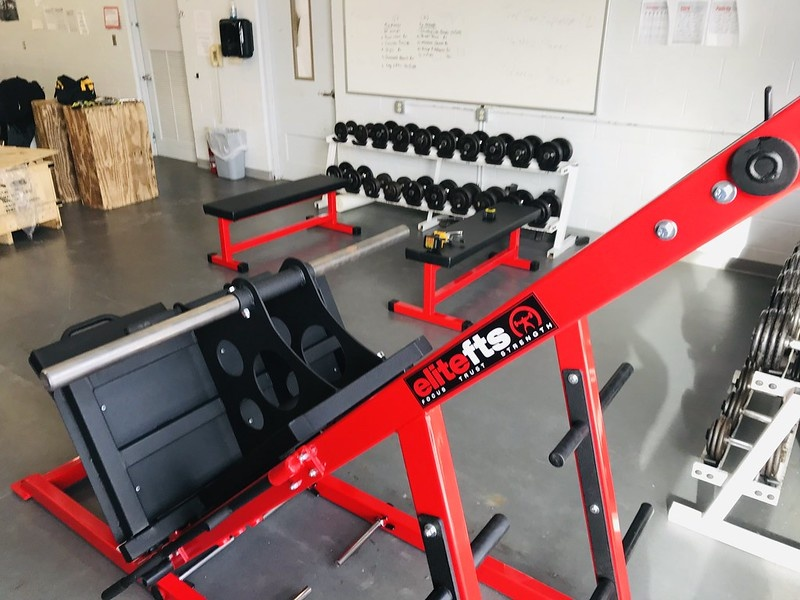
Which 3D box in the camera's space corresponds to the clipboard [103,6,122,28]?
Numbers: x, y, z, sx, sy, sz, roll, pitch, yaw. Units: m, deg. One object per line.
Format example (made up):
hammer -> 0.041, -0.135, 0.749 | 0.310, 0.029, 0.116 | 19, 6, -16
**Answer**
clipboard -> -3.470, -3.406, 6.864 | 0.028, 0.244, 0.192 | 27, 33, 31
